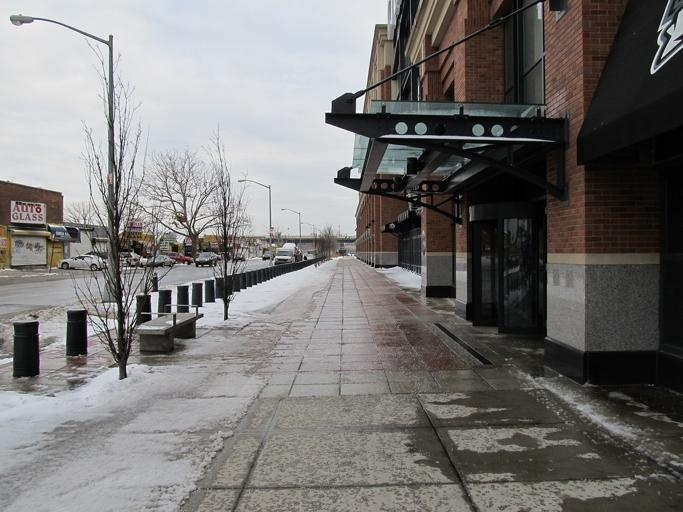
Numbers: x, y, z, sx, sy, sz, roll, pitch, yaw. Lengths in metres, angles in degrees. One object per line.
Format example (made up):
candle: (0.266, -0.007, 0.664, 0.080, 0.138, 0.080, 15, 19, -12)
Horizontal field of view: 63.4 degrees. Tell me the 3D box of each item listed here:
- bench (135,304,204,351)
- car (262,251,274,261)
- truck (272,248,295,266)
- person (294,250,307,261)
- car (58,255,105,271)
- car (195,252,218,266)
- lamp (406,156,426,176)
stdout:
bench: (-3.417, 1.472, 10.850, 0.663, 0.661, 1.434, 0, 8, 10)
car: (-9.153, -0.011, 69.115, 1.398, 1.161, 2.397, 0, -4, -12)
truck: (-5.846, 0.015, 56.244, 1.490, 1.352, 2.587, -1, -6, -1)
person: (-5.276, -0.034, 72.299, 1.414, 1.164, 2.320, -1, -9, -6)
car: (-16.848, 0.447, 35.598, 2.464, 0.821, 1.132, 2, -1, 3)
car: (-12.864, 0.304, 52.772, 1.106, 0.845, 2.456, 0, 10, -4)
lamp: (1.700, -2.018, 12.501, 0.403, 0.390, 0.310, -1, 8, 2)
